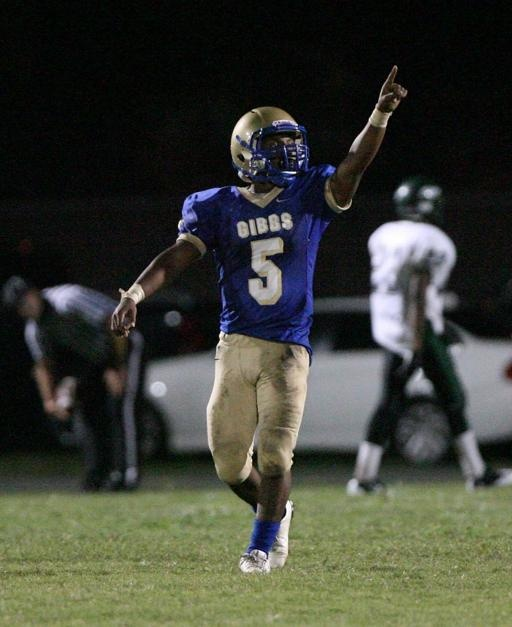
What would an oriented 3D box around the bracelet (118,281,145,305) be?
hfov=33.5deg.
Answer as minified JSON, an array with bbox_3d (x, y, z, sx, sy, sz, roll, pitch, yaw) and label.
[{"bbox_3d":[-0.509,-0.087,3.562,0.128,0.050,0.080,9,-22,2],"label":"bracelet"}]

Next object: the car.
[{"bbox_3d":[0.509,0.642,8.502,4.844,1.251,1.740,1,-6,4],"label":"car"}]

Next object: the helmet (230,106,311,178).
[{"bbox_3d":[0.046,-0.747,3.784,0.363,0.276,0.408,-5,9,-27],"label":"helmet"}]

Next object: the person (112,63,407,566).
[{"bbox_3d":[0.037,0.060,3.657,1.114,2.054,0.571,-1,-8,6],"label":"person"}]

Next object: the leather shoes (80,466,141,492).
[{"bbox_3d":[-1.224,1.414,7.232,0.643,0.195,0.188,2,-2,13],"label":"leather shoes"}]

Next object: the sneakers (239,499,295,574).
[{"bbox_3d":[0.060,1.042,3.700,0.152,0.136,0.385,0,6,14],"label":"sneakers"}]
